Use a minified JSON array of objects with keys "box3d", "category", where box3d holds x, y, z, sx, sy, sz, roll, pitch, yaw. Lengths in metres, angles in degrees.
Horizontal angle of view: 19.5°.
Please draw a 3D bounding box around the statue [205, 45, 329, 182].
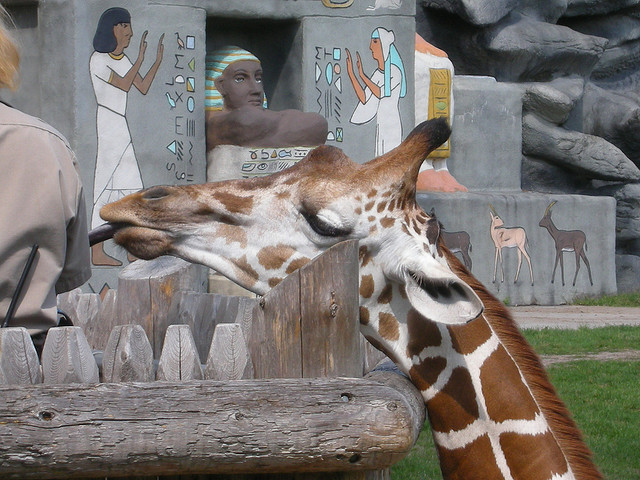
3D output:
[{"box3d":[-1.151,-2.178,32.462,2.374,2.663,1.879,0,3,8],"category":"statue"}]
